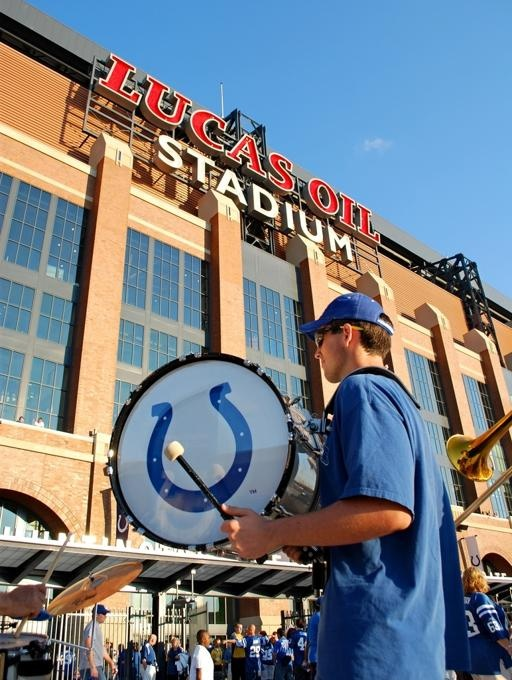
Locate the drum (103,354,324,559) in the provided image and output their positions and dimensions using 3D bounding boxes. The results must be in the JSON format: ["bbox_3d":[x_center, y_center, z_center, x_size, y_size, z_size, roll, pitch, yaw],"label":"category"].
[{"bbox_3d":[-0.152,0.427,2.366,0.681,0.829,0.603,-2,-15,15],"label":"drum"}]
